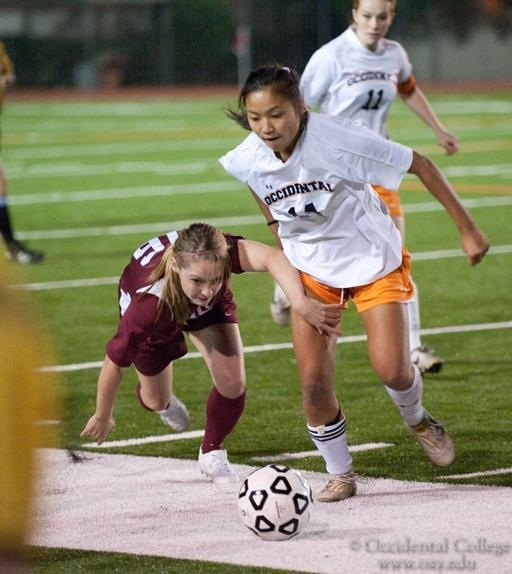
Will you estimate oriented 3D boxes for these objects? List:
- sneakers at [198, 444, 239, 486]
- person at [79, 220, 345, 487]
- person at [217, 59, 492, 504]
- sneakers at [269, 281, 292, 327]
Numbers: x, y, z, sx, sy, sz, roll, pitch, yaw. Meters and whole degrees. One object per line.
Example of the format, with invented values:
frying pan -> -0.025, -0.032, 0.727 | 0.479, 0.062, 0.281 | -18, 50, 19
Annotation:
sneakers -> -0.153, 0.711, 3.282 | 0.080, 0.065, 0.201 | -6, 5, -26
person -> -0.179, 0.344, 3.649 | 1.099, 1.042, 0.827 | -13, 46, -18
person -> 0.349, -0.008, 3.102 | 1.091, 1.538, 0.737 | -9, -1, 18
sneakers -> 0.158, 0.110, 5.463 | 0.122, 0.271, 0.141 | -9, -18, 4
